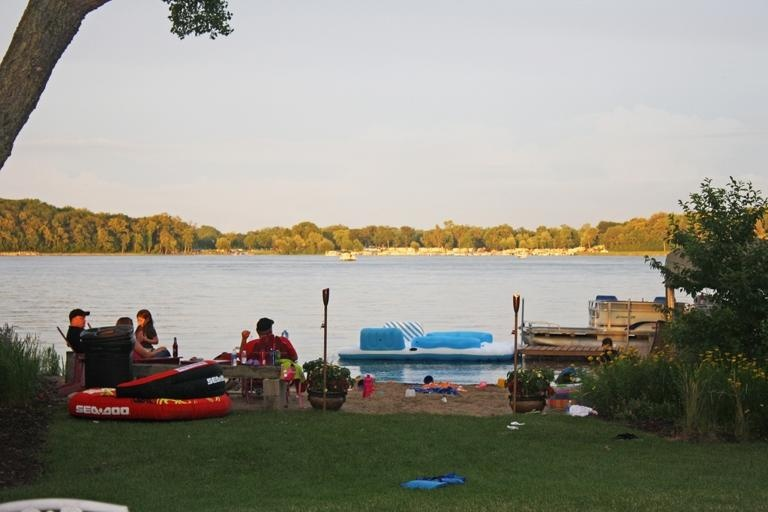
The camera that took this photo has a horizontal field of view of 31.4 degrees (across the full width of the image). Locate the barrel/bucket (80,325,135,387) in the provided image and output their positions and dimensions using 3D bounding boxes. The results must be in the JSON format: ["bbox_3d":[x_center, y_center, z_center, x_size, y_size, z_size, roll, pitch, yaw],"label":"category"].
[{"bbox_3d":[-7.149,2.531,35.204,1.266,1.582,1.082,0,-2,-10],"label":"barrel/bucket"}]

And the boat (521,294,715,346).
[{"bbox_3d":[8.075,2.302,51.068,8.488,2.413,4.376,-1,8,-5],"label":"boat"}]

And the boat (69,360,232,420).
[{"bbox_3d":[-5.771,3.369,34.495,3.725,1.480,0.484,1,-6,-6],"label":"boat"}]

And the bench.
[{"bbox_3d":[-5.478,3.202,35.040,4.606,1.377,1.720,1,-3,-3],"label":"bench"}]

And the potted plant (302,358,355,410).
[{"bbox_3d":[-1.409,3.415,36.526,1.453,1.444,1.289,1,-7,-5],"label":"potted plant"}]

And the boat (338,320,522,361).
[{"bbox_3d":[1.593,3.332,50.466,3.059,0.689,2.672,-2,-4,7],"label":"boat"}]
